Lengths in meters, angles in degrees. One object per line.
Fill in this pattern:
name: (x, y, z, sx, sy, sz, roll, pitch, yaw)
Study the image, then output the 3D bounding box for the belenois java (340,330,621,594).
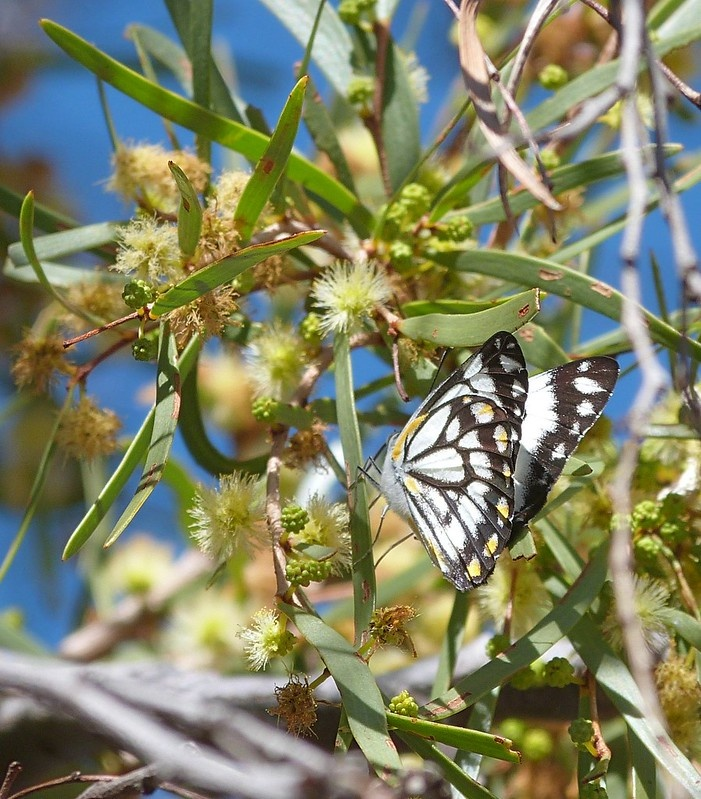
belenois java: (0.120, 0.083, 1.094, 0.260, 0.270, 0.180, 39, 88, -14)
